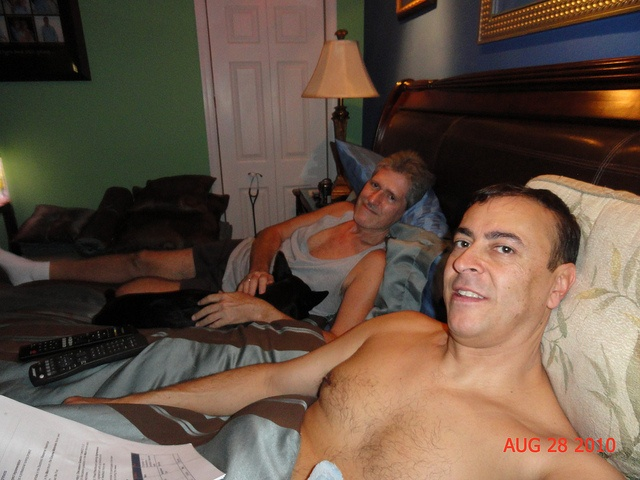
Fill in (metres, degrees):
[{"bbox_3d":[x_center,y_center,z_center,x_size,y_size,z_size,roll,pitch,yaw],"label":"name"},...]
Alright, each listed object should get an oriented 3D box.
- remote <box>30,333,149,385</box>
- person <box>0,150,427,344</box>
[{"bbox_3d":[-0.727,0.389,1.527,0.385,0.062,0.122,-13,44,-30],"label":"remote"},{"bbox_3d":[-0.652,0.011,2.334,1.253,0.740,0.551,13,34,-18],"label":"person"}]
